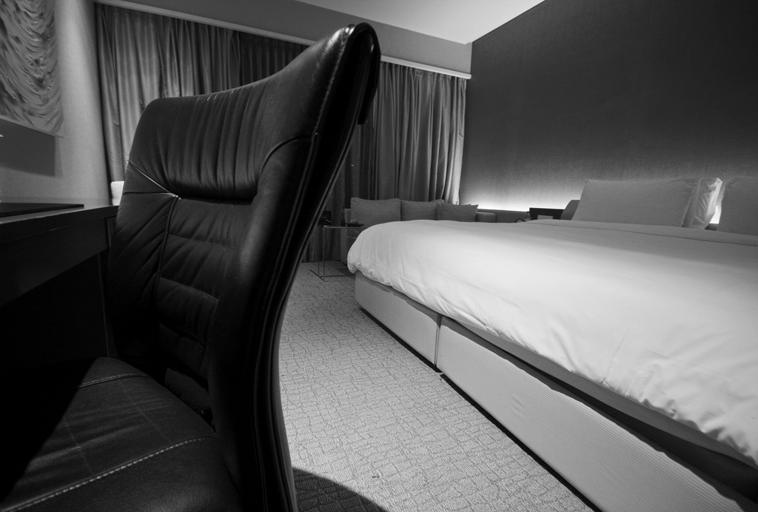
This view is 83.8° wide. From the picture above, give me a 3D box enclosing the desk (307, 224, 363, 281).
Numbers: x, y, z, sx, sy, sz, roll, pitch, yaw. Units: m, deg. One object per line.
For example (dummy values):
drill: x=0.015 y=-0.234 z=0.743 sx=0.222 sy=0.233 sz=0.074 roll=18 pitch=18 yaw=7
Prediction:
desk: x=-0.505 y=-0.065 z=4.689 sx=0.521 sy=0.722 sz=0.720 roll=1 pitch=3 yaw=-17
